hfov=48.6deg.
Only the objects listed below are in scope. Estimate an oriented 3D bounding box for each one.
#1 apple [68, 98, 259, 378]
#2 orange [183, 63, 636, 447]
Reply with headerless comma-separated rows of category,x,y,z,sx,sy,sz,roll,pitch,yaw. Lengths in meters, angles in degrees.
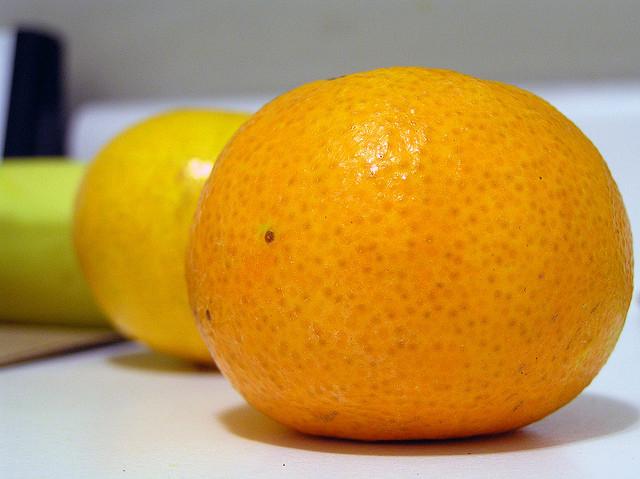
apple,-0.251,-0.040,1.086,0.227,0.315,0.404,-24,80,-7
orange,0.091,0.023,0.849,0.421,0.399,0.322,-3,84,-4
